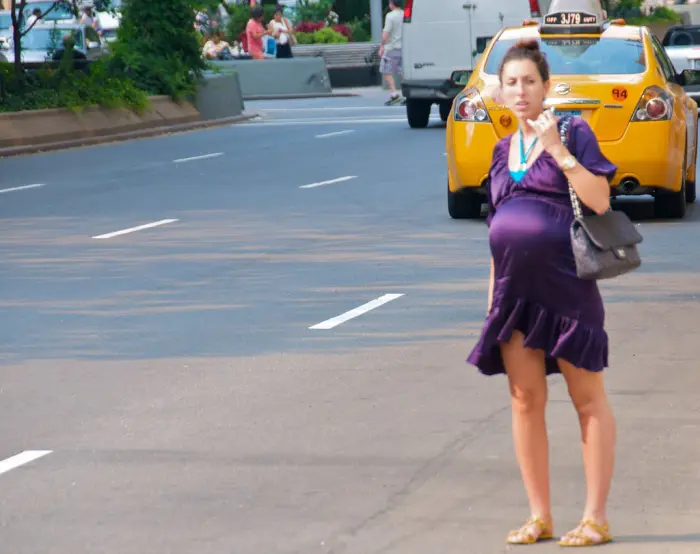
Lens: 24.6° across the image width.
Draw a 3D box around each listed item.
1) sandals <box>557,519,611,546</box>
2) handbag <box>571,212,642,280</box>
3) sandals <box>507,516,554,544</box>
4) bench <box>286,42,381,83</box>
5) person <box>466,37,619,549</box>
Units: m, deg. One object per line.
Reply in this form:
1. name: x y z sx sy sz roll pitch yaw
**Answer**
1. sandals: 1.003 1.087 6.869 0.198 0.075 0.101 0 -2 -15
2. handbag: 1.084 -0.136 6.913 0.176 0.329 0.458 -9 -2 39
3. sandals: 0.777 1.084 6.939 0.171 0.070 0.104 -2 0 -23
4. bench: -0.457 -7.622 57.121 2.927 1.375 5.790 -2 11 -1
5. person: 0.833 0.054 6.993 0.652 2.124 0.605 2 11 18
